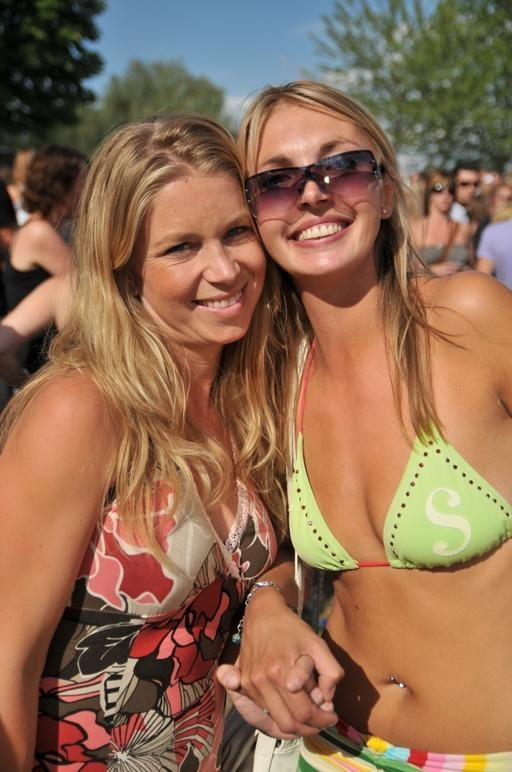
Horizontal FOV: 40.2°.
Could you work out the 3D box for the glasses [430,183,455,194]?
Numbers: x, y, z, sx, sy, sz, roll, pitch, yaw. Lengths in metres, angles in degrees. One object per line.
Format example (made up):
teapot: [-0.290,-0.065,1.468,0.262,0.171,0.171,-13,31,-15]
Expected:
glasses: [1.811,-1.921,6.781,0.165,0.072,0.116,6,12,6]
